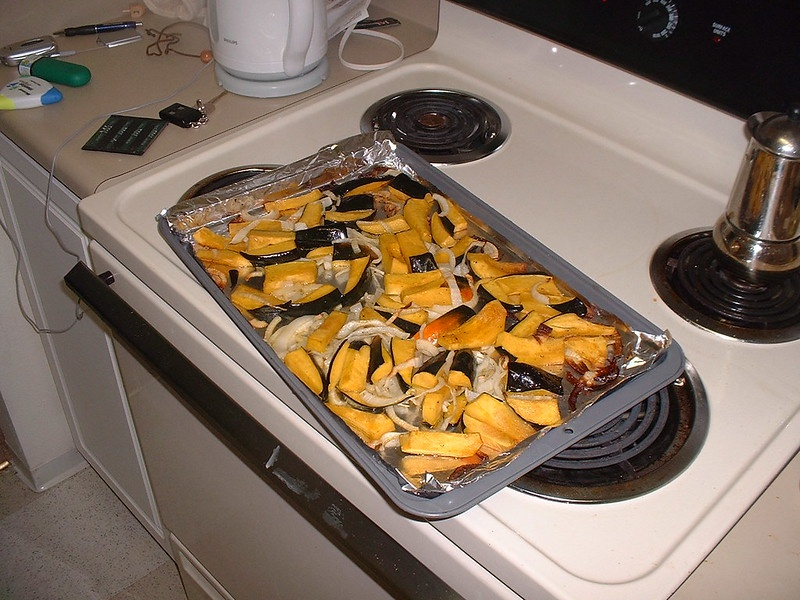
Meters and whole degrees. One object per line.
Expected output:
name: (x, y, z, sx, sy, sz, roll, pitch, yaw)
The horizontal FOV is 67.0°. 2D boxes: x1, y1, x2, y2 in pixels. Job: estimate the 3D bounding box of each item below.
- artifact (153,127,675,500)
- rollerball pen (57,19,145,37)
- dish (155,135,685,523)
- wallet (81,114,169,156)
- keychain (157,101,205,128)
artifact: (0.002, 0.018, 0.711, 0.350, 0.083, 0.532, -28, 55, -28)
rollerball pen: (-0.585, -0.533, 1.184, 0.190, 0.025, 0.020, -9, 39, -17)
dish: (0.000, 0.004, 0.736, 0.364, 0.094, 0.557, -28, 56, -29)
wallet: (-0.429, -0.258, 0.946, 0.099, 0.014, 0.092, 12, 52, 3)
keychain: (-0.348, -0.302, 0.980, 0.061, 0.014, 0.044, 20, 48, 17)
